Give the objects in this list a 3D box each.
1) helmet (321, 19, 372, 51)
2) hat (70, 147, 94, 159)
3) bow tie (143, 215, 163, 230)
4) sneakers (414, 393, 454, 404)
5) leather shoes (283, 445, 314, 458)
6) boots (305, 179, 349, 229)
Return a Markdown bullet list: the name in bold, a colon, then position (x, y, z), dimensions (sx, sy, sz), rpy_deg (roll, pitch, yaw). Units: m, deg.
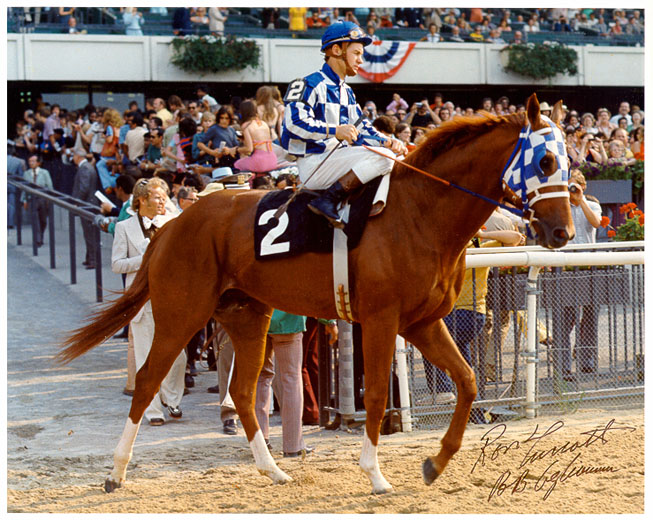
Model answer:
- **helmet**: position (0.183, -2.107, 12.664), dimensions (0.401, 0.197, 0.279), rpy_deg (-7, 6, 9)
- **hat**: position (-3.676, -1.621, 20.427), dimensions (0.233, 0.175, 0.383), rpy_deg (17, 1, -7)
- **bow tie**: position (-1.795, -0.392, 14.157), dimensions (0.187, 0.154, 0.069), rpy_deg (-9, 9, -41)
- **sneakers**: position (1.095, 1.399, 13.575), dimensions (0.258, 0.075, 0.167), rpy_deg (-3, -5, 8)
- **leather shoes**: position (-0.275, 1.853, 13.114), dimensions (0.319, 0.135, 0.107), rpy_deg (-7, 1, -10)
- **boots**: position (0.017, -0.509, 12.353), dimensions (0.350, 0.410, 0.165), rpy_deg (0, 5, -1)
